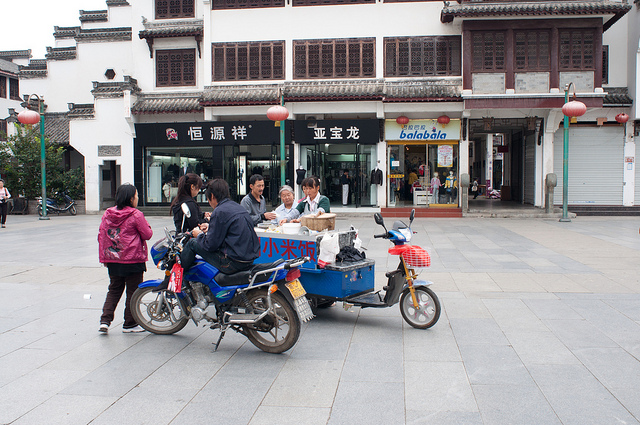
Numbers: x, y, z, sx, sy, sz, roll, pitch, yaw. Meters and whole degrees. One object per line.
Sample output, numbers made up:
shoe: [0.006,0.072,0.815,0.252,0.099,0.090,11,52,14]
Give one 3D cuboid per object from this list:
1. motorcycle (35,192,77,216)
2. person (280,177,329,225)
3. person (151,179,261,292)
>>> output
motorcycle: [-11.555,-0.352,26.318,1.747,1.028,0.835,-3,8,-28]
person: [-0.246,-0.203,11.613,0.654,1.095,1.124,-2,4,27]
person: [-1.682,0.251,10.119,1.206,1.580,0.447,-1,5,16]
